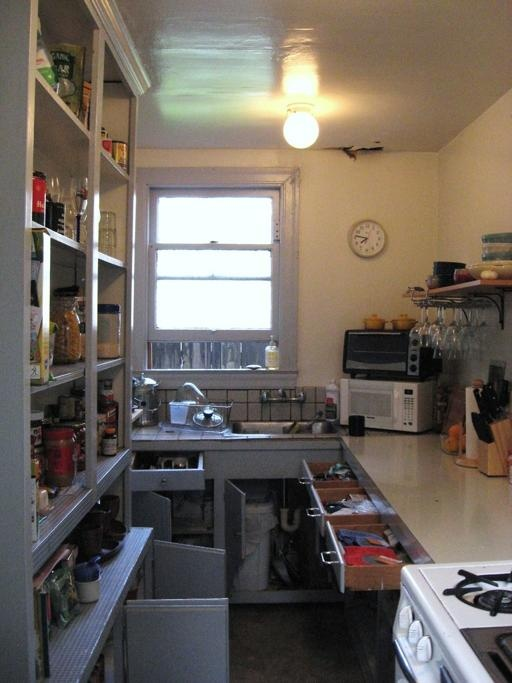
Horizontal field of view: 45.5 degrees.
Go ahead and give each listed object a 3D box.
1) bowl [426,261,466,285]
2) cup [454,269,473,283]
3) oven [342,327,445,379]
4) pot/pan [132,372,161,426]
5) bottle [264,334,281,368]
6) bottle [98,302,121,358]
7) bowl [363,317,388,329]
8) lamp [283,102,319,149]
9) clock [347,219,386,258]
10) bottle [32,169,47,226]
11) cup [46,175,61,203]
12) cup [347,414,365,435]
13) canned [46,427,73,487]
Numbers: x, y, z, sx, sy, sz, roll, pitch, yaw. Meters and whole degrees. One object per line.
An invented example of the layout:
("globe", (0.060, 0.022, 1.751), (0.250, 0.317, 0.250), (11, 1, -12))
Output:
("bowl", (0.801, -0.281, 2.543), (0.126, 0.095, 0.095), (-3, 6, -34))
("cup", (0.802, -0.249, 2.365), (0.052, 0.056, 0.054), (0, 0, 0))
("oven", (0.659, 0.054, 3.202), (0.387, 0.263, 0.243), (2, 6, 12))
("pot/pan", (-0.618, 0.340, 3.297), (0.157, 0.230, 0.151), (3, -12, -38))
("bottle", (0.097, 0.068, 3.486), (0.077, 0.189, 0.096), (-1, 0, 1))
("bottle", (-0.476, -0.037, 2.012), (0.088, 0.168, 0.093), (-1, 5, 0))
("bowl", (0.638, -0.092, 3.290), (0.084, 0.051, 0.066), (-1, 0, 32))
("lamp", (0.196, -0.950, 2.745), (0.135, 0.173, 0.141), (-6, 19, -20))
("clock", (0.617, -0.583, 3.439), (0.193, 0.217, 0.041), (0, 1, -6))
("bottle", (-0.445, -0.295, 1.258), (0.021, 0.107, 0.074), (-1, 0, -3))
("cup", (-0.485, -0.368, 1.473), (0.031, 0.060, 0.074), (-1, 0, -18))
("cup", (0.486, 0.414, 2.995), (0.080, 0.100, 0.083), (1, 3, 0))
("canned", (-0.509, 0.302, 1.599), (0.072, 0.151, 0.122), (-1, 0, -10))
